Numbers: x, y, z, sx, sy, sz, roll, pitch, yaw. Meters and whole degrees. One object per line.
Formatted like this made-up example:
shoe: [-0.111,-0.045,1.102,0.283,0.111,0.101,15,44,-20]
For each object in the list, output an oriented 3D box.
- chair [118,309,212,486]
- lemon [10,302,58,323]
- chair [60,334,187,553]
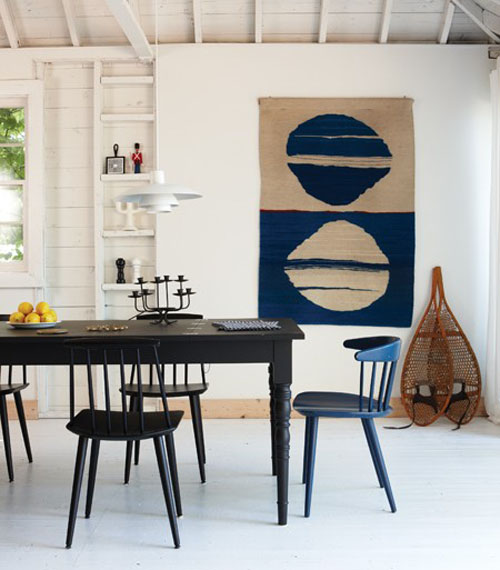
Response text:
chair: [-0.512,0.693,3.987,0.580,0.686,0.513,0,-16,-11]
lemon: [-1.128,0.155,3.620,0.174,0.068,0.164,-1,-4,43]
chair: [-0.681,0.629,3.667,0.574,0.957,1.601,-2,7,-11]
